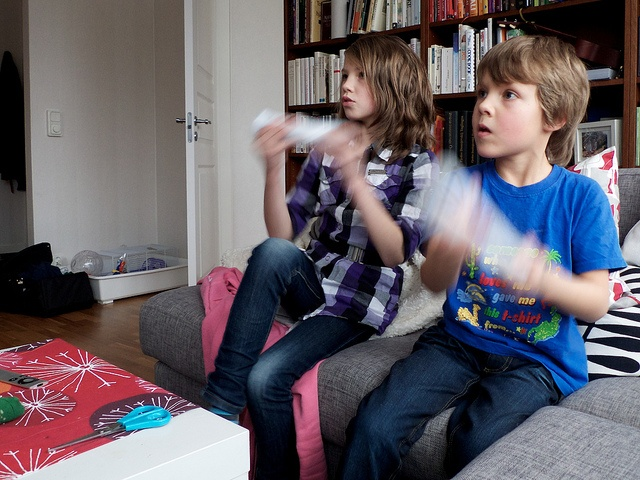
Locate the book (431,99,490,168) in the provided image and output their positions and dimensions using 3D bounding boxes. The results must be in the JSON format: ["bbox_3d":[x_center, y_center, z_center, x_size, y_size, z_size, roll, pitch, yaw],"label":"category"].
[{"bbox_3d":[0.795,-0.487,2.727,0.346,0.524,0.511,1,2,22],"label":"book"}]

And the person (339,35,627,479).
[{"bbox_3d":[0.355,0.019,1.067,0.673,0.924,0.369,-8,11,-7],"label":"person"}]

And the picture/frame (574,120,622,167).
[{"bbox_3d":[1.293,-0.447,2.227,0.200,0.227,0.086,-3,-3,10],"label":"picture/frame"}]

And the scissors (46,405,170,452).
[{"bbox_3d":[-0.378,0.328,0.874,0.065,0.013,0.168,13,16,37],"label":"scissors"}]
